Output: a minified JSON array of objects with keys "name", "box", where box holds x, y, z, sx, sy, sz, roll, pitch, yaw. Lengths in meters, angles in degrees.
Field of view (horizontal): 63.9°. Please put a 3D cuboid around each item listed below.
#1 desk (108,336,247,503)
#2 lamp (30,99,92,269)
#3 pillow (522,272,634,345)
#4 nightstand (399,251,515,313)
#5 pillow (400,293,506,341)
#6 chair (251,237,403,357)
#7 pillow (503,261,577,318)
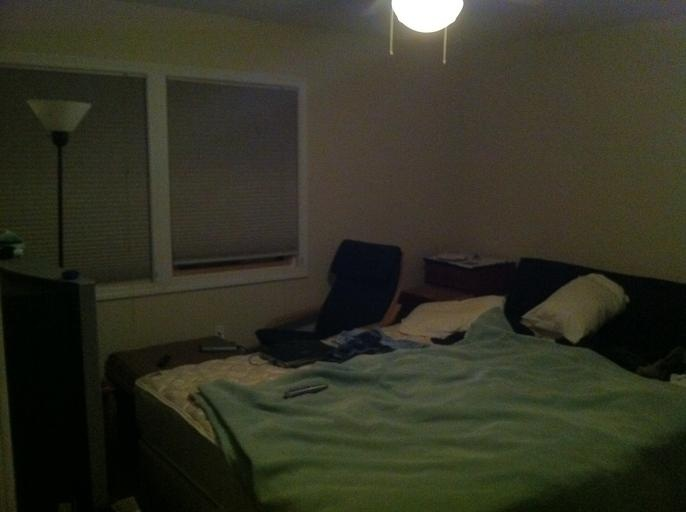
[{"name":"desk","box":[-0.928,0.901,3.168,0.716,0.428,0.697,-3,7,-35]},{"name":"lamp","box":[-1.651,-0.396,3.279,0.322,1.030,0.601,-2,13,-28]},{"name":"pillow","box":[1.362,0.300,3.194,0.482,0.169,0.346,-27,20,-21]},{"name":"nightstand","box":[0.849,0.142,4.205,0.541,0.666,0.709,1,3,-24]},{"name":"pillow","box":[0.687,0.389,3.538,0.472,0.111,0.337,-21,13,13]},{"name":"chair","box":[-0.095,0.212,3.828,0.988,0.811,0.686,0,2,-37]},{"name":"pillow","box":[1.253,0.219,3.585,0.109,0.373,0.393,19,12,-21]}]
